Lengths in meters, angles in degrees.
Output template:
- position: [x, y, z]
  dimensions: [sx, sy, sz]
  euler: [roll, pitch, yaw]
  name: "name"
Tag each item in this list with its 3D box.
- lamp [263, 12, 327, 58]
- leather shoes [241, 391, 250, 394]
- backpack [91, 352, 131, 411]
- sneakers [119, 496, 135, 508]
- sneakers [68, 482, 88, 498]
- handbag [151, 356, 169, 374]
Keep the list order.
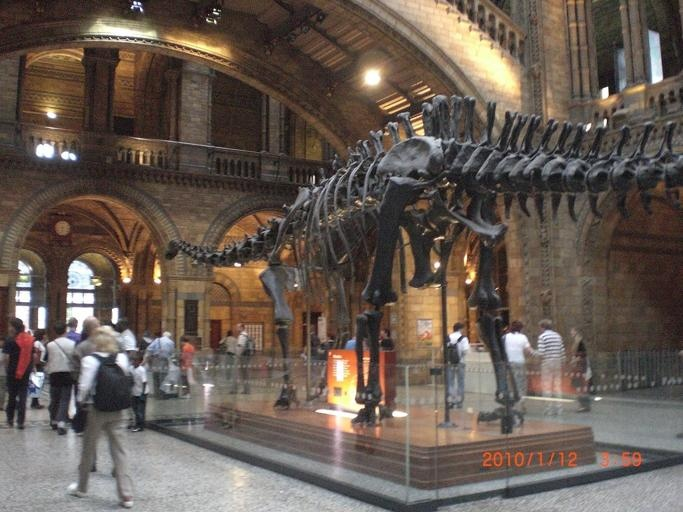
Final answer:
- position: [-1.122, -5.581, 18.903]
  dimensions: [1.959, 0.850, 0.678]
  euler: [1, 8, 42]
  name: "lamp"
- position: [-1.410, 1.955, 10.911]
  dimensions: [0.147, 0.042, 0.067]
  euler: [-2, 7, 26]
  name: "leather shoes"
- position: [-2.607, 1.416, 8.501]
  dimensions: [0.452, 0.665, 0.253]
  euler: [-7, 7, -18]
  name: "backpack"
- position: [-2.410, 2.703, 8.380]
  dimensions: [0.137, 0.124, 0.104]
  euler: [-7, 6, -16]
  name: "sneakers"
- position: [-3.052, 2.654, 8.682]
  dimensions: [0.119, 0.117, 0.269]
  euler: [3, 5, -39]
  name: "sneakers"
- position: [-3.009, 1.788, 12.429]
  dimensions: [0.293, 0.274, 0.161]
  euler: [-5, -4, 42]
  name: "handbag"
